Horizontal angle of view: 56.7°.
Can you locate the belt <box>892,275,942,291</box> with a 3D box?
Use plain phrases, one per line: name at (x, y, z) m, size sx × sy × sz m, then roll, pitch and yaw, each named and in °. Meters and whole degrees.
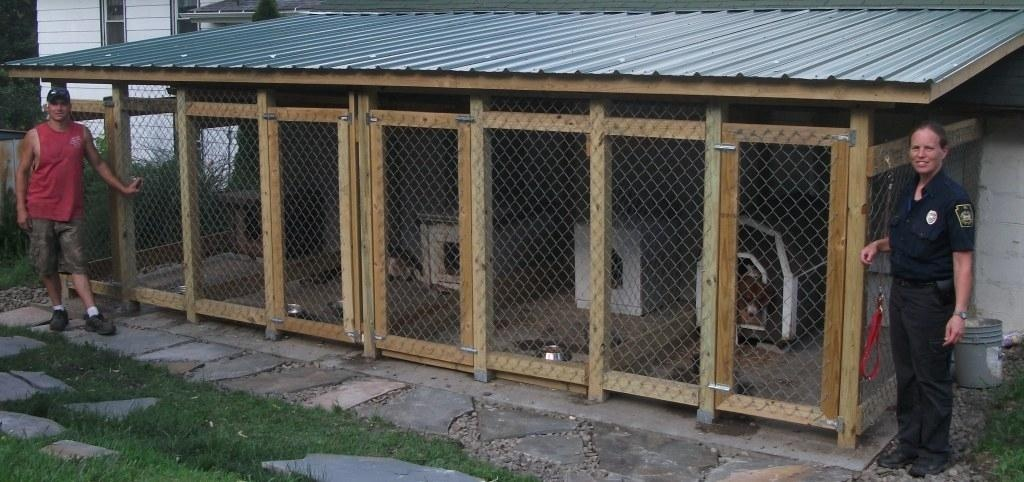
belt at (5.360, 0.554, 12.452) m, size 0.606 × 0.131 × 0.085 m, roll 7°, pitch 18°, yaw 21°
